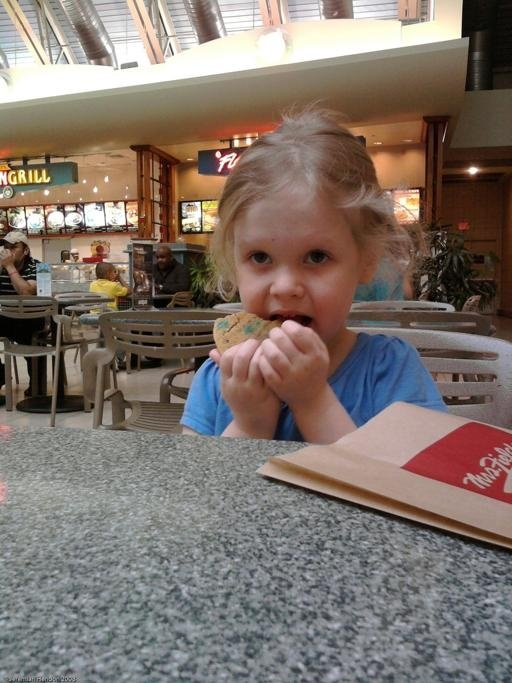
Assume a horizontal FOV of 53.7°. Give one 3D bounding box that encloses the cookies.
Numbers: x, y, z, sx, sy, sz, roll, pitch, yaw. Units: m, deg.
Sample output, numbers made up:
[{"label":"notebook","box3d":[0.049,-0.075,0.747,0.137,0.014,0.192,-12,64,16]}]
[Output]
[{"label":"cookies","box3d":[-0.010,-0.013,0.710,0.091,0.053,0.098,-2,8,-4]}]
